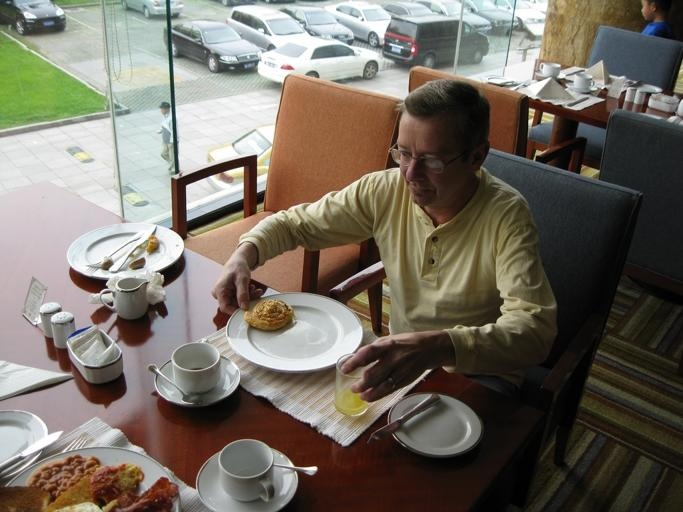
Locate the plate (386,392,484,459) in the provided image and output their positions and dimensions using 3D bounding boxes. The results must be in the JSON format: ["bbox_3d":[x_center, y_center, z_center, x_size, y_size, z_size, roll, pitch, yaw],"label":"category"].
[{"bbox_3d":[0.184,0.329,0.973,0.187,0.026,0.173,-15,26,-41],"label":"plate"}]

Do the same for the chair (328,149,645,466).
[{"bbox_3d":[0.429,0.185,1.413,0.597,0.851,0.596,18,20,16],"label":"chair"}]

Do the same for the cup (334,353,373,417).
[{"bbox_3d":[0.034,0.264,1.021,0.110,0.112,0.066,2,-8,-13],"label":"cup"}]

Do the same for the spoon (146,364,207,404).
[{"bbox_3d":[-0.327,0.260,1.006,0.099,0.014,0.022,39,46,25],"label":"spoon"}]

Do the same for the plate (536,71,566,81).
[{"bbox_3d":[1.270,-1.115,3.118,0.130,0.029,0.131,-1,13,-12],"label":"plate"}]

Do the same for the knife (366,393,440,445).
[{"bbox_3d":[0.120,0.321,0.973,0.030,0.024,0.210,28,33,35],"label":"knife"}]

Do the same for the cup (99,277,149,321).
[{"bbox_3d":[-0.523,0.109,1.202,0.117,0.082,0.068,-6,23,-21],"label":"cup"}]

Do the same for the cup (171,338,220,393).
[{"bbox_3d":[-0.290,0.228,1.025,0.095,0.075,0.096,2,37,-2],"label":"cup"}]

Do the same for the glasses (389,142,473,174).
[{"bbox_3d":[0.199,-0.235,1.233,0.109,0.035,0.116,21,39,29],"label":"glasses"}]

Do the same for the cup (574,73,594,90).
[{"bbox_3d":[1.434,-1.042,2.974,0.092,0.098,0.123,-1,31,14],"label":"cup"}]

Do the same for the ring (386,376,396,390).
[{"bbox_3d":[0.098,0.247,0.970,0.016,0.015,0.016,-3,40,3],"label":"ring"}]

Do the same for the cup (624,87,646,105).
[{"bbox_3d":[1.646,-0.898,2.815,0.117,0.088,0.067,-21,35,-33],"label":"cup"}]

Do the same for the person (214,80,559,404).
[{"bbox_3d":[0.129,-0.047,1.433,0.669,0.870,0.715,-36,50,-26],"label":"person"}]

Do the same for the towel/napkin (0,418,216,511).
[{"bbox_3d":[-0.477,0.406,0.935,0.197,0.011,0.142,33,42,21],"label":"towel/napkin"}]

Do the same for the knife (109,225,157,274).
[{"bbox_3d":[-0.580,-0.024,1.394,0.033,0.010,0.227,24,36,8],"label":"knife"}]

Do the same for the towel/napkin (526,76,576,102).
[{"bbox_3d":[1.151,-0.962,2.768,0.208,0.089,0.176,24,40,34],"label":"towel/napkin"}]

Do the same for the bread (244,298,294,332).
[{"bbox_3d":[-0.180,0.138,1.188,0.087,0.030,0.075,6,37,5],"label":"bread"}]

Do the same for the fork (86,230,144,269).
[{"bbox_3d":[-0.630,-0.015,1.392,0.018,0.024,0.162,23,41,11],"label":"fork"}]
